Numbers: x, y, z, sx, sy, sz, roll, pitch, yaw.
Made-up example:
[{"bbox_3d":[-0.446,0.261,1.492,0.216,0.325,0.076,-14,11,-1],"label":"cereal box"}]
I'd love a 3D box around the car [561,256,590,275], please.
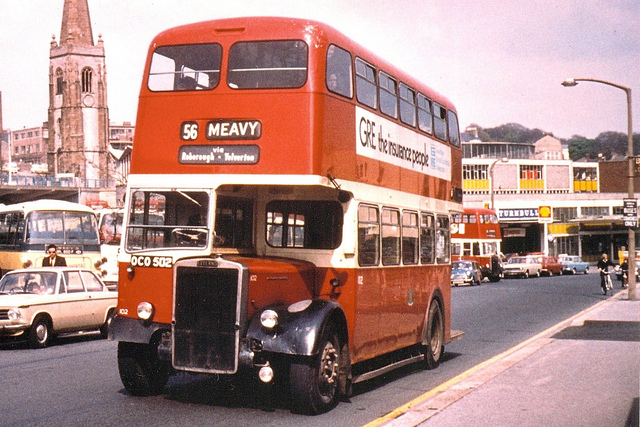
[{"bbox_3d":[25.780,5.247,64.794,1.803,1.695,4.466,-4,-8,39],"label":"car"}]

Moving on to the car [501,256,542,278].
[{"bbox_3d":[18.175,4.634,56.433,1.991,1.460,4.309,-3,-5,29],"label":"car"}]

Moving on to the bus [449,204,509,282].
[{"bbox_3d":[11.757,2.315,47.205,3.006,5.958,6.669,-3,-1,29],"label":"bus"}]

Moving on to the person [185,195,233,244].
[{"bbox_3d":[-1.738,0.138,9.886,0.605,0.734,0.189,15,-20,-7],"label":"person"}]

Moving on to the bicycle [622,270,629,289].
[{"bbox_3d":[19.375,4.101,40.335,0.276,1.122,1.802,-2,-3,25],"label":"bicycle"}]

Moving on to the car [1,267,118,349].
[{"bbox_3d":[-6.827,2.361,17.253,2.406,1.884,4.346,-4,-5,28],"label":"car"}]

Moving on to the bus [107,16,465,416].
[{"bbox_3d":[-0.637,0.283,10.234,2.632,4.043,6.107,-2,-3,28],"label":"bus"}]

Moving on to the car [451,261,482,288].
[{"bbox_3d":[10.496,4.280,45.027,1.656,1.362,2.971,-3,-5,19],"label":"car"}]
